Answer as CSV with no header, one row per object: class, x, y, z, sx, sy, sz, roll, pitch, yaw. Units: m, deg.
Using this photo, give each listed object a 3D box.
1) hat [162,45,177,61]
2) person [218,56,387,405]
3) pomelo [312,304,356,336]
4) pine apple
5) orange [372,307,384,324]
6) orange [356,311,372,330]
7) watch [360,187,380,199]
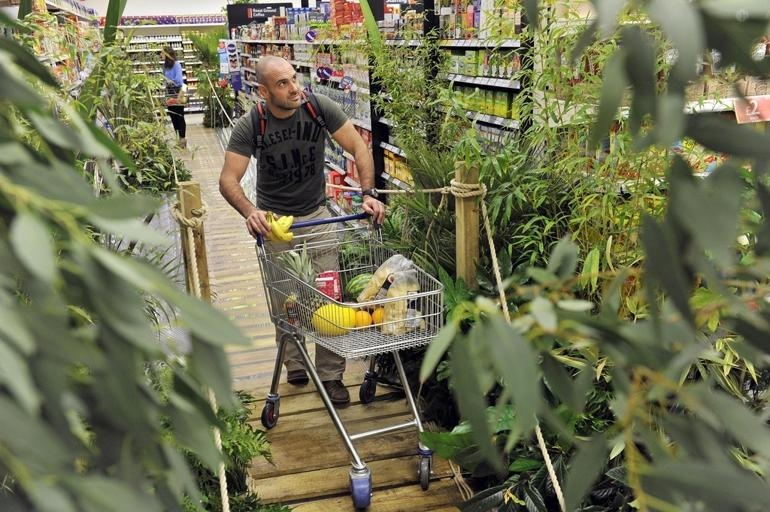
hat,-4.723,-4.427,11.845,0.259,0.322,0.366,-9,25,-19
person,-0.389,-0.105,3.186,0.953,2.142,1.079,-1,6,-15
pomelo,-0.235,0.297,2.444,0.206,0.179,0.220,-2,17,-5
pine apple,-0.408,0.163,2.687,0.185,0.442,0.237,-12,3,43
orange,-0.034,0.278,2.528,0.067,0.082,0.068,1,-4,-1
orange,-0.114,0.295,2.535,0.075,0.092,0.076,-2,-5,-10
watch,-0.079,-0.355,3.009,0.088,0.061,0.093,-1,-14,-7
